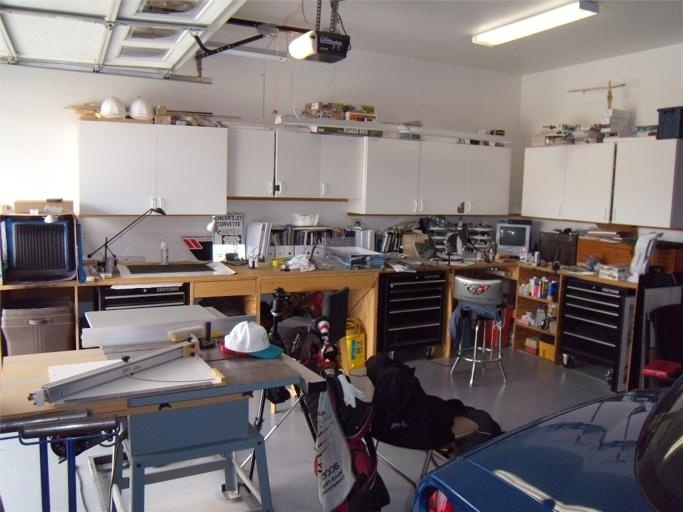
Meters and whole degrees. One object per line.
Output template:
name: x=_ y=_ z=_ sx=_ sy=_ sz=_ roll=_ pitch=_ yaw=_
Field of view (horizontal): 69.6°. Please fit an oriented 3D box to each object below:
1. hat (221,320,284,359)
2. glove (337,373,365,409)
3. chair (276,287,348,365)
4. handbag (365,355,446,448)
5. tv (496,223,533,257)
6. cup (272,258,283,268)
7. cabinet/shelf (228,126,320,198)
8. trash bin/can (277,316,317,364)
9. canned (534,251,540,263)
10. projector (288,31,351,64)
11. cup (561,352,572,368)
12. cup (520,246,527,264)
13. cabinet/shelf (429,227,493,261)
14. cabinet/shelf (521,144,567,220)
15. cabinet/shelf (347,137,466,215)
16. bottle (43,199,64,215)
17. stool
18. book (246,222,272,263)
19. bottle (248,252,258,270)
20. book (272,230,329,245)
hat: x=-0.485 y=0.452 z=2.756 sx=0.348 sy=0.142 sz=0.234 roll=11 pitch=11 yaw=9
glove: x=0.061 y=0.714 z=2.660 sx=0.061 sy=0.160 sz=0.164 roll=-31 pitch=-15 yaw=8
chair: x=-0.274 y=0.502 z=4.138 sx=0.620 sy=0.692 sz=0.463 roll=6 pitch=13 yaw=8
handbag: x=0.346 y=0.849 z=2.959 sx=0.542 sy=0.440 sz=0.416 roll=0 pitch=5 yaw=-20
tv: x=2.042 y=-0.119 z=5.950 sx=0.384 sy=0.485 sz=0.266 roll=8 pitch=-26 yaw=9
cup: x=-0.635 y=0.068 z=4.885 sx=0.094 sy=0.064 sz=0.093 roll=3 pitch=3 yaw=0
cabinet/shelf: x=-0.776 y=-0.946 z=5.078 sx=1.028 sy=0.662 sz=0.550 roll=-5 pitch=18 yaw=-29
trash bin/can: x=-0.305 y=0.584 z=3.547 sx=0.267 sy=0.137 sz=0.417 roll=-6 pitch=21 yaw=-18
canned: x=2.185 y=0.019 z=5.492 sx=0.070 sy=0.180 sz=0.129 roll=4 pitch=3 yaw=18
projector: x=-0.201 y=-1.494 z=3.581 sx=0.291 sy=0.139 sz=0.386 roll=-5 pitch=10 yaw=-35
cup: x=2.405 y=1.096 z=5.244 sx=0.099 sy=0.180 sz=0.230 roll=2 pitch=7 yaw=24
cup: x=2.101 y=-0.014 z=5.658 sx=0.085 sy=0.156 sz=0.214 roll=1 pitch=6 yaw=19
cabinet/shelf: x=1.391 y=-0.071 z=5.865 sx=0.654 sy=0.333 sz=0.739 roll=6 pitch=-5 yaw=-7
cabinet/shelf: x=2.407 y=-0.864 z=5.858 sx=0.323 sy=0.847 sz=0.553 roll=-6 pitch=10 yaw=-4
cabinet/shelf: x=0.941 y=-0.802 z=5.401 sx=1.250 sy=0.743 sz=0.427 roll=5 pitch=8 yaw=36
bottle: x=-2.390 y=-0.399 z=4.090 sx=0.148 sy=0.133 sz=0.076 roll=2 pitch=-18 yaw=-20
stool: x=1.446 y=0.686 z=5.176 sx=0.559 sy=1.016 sz=1.230 roll=1 pitch=6 yaw=15
book: x=-0.856 y=-0.141 z=5.013 sx=0.292 sy=0.399 sz=0.206 roll=0 pitch=7 yaw=8
bottle: x=-0.870 y=0.055 z=4.827 sx=0.132 sy=0.163 sz=0.143 roll=2 pitch=6 yaw=-12
book: x=-0.477 y=-0.191 z=5.124 sx=0.497 sy=0.170 sz=0.050 roll=-3 pitch=7 yaw=-21
